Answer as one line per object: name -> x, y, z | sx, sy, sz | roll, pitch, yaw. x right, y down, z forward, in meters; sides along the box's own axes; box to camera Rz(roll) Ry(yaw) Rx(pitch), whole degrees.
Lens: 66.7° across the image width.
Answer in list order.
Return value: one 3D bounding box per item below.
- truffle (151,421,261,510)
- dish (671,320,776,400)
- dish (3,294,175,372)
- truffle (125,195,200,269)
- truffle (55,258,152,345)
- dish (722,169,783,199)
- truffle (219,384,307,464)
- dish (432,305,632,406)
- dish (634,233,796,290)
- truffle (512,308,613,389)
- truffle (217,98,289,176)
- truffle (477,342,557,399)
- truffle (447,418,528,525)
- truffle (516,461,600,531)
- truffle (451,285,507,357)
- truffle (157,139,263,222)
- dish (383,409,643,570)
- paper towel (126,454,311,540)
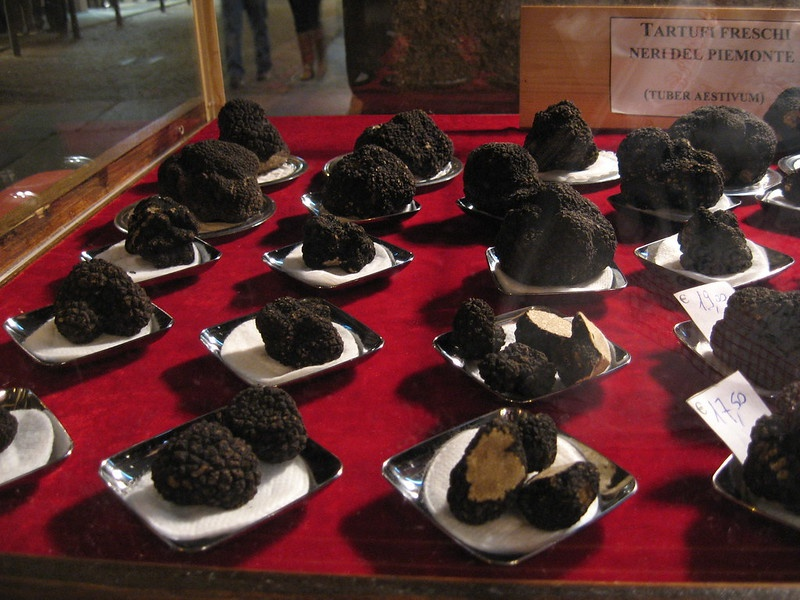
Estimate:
truffle -> -0.316, 0.267, 1.028 | 0.189, 0.072, 0.146 | -8, 31, 14
dish -> 0.640, 0.115, 1.249 | 0.100, 0.029, 0.157 | 0, 32, -22
dish -> -0.681, 0.089, 1.327 | 0.243, 0.040, 0.177 | -15, 32, -28
truffle -> -0.639, -0.175, 1.608 | 0.165, 0.061, 0.129 | 1, -16, -21
truffle -> -0.673, -0.003, 1.363 | 0.187, 0.233, 0.095 | 8, 56, -3
dish -> 1.094, -0.349, 1.859 | 0.137, 0.022, 0.133 | -21, 17, -5
truffle -> -0.236, 0.211, 1.060 | 0.114, 0.068, 0.143 | -22, 35, -22
dish -> 0.245, 0.126, 1.302 | 0.256, 0.028, 0.257 | -17, 31, -27
dish -> 0.764, -0.096, 1.511 | 0.203, 0.048, 0.207 | -14, 23, -31
truffle -> 0.326, 0.084, 1.275 | 0.113, 0.099, 0.196 | -37, 53, -23
truffle -> -0.530, -0.534, 2.149 | 0.244, 0.088, 0.183 | 10, 2, 11
truffle -> 0.229, 0.134, 1.186 | 0.095, 0.061, 0.118 | -10, 24, -37
truffle -> 0.138, 0.275, 1.015 | 0.112, 0.166, 0.042 | 32, -4, -2
truffle -> 0.255, 0.299, 0.963 | 0.124, 0.085, 0.086 | -25, 42, -30
truffle -> 0.155, 0.042, 1.261 | 0.096, 0.123, 0.064 | -1, 11, 21
truffle -> -0.597, -0.394, 1.910 | 0.361, 0.183, 0.278 | 12, 27, 19
dish -> 0.172, 0.298, 1.020 | 0.377, 0.044, 0.372 | 1, 35, 4
paper towel -> -0.286, 0.333, 0.999 | 0.178, 0.029, 0.130 | -15, 34, -23
